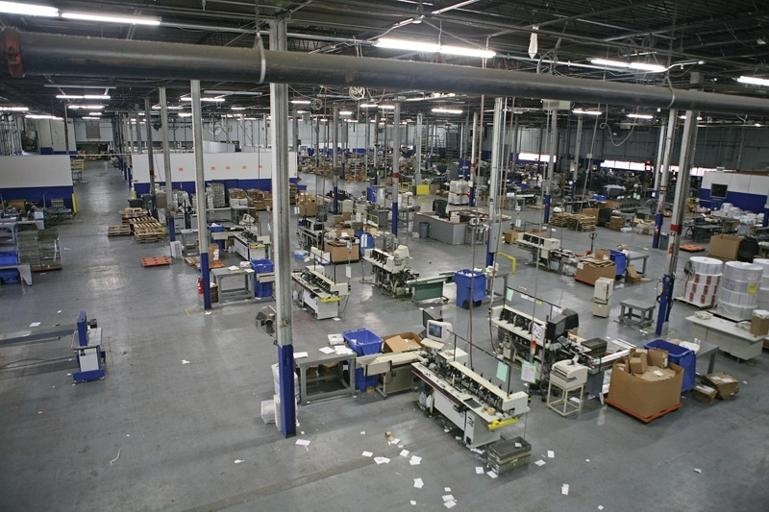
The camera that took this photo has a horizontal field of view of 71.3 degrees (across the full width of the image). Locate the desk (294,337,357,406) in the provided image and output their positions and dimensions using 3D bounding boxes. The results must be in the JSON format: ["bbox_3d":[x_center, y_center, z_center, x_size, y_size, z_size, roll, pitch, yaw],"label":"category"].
[{"bbox_3d":[-1.511,2.924,13.133,1.700,0.980,1.301,-6,12,-26],"label":"desk"}]

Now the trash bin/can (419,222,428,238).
[{"bbox_3d":[1.821,-1.193,24.910,0.423,0.721,0.239,0,14,5],"label":"trash bin/can"}]

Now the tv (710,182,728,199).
[{"bbox_3d":[17.113,-3.338,27.425,0.275,0.706,0.830,-11,16,-31],"label":"tv"}]

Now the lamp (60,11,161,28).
[{"bbox_3d":[-5.772,-5.019,11.320,1.863,0.249,0.726,-4,13,-15],"label":"lamp"}]

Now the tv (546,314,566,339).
[{"bbox_3d":[4.123,1.722,12.916,0.563,0.449,0.188,-9,22,-33],"label":"tv"}]

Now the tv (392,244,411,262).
[{"bbox_3d":[0.542,-0.092,17.606,0.315,0.452,0.672,10,16,37],"label":"tv"}]

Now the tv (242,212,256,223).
[{"bbox_3d":[-5.429,-1.487,21.504,0.784,0.292,1.287,-1,9,-19],"label":"tv"}]

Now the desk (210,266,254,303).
[{"bbox_3d":[-4.936,0.946,17.480,1.251,0.908,0.963,-3,13,-16],"label":"desk"}]

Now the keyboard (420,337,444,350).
[{"bbox_3d":[1.124,2.168,12.870,0.579,0.283,0.440,5,14,25],"label":"keyboard"}]

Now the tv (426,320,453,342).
[{"bbox_3d":[1.368,1.779,13.272,0.476,0.479,0.706,-11,14,-41],"label":"tv"}]

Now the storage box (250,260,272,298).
[{"bbox_3d":[-3.970,0.775,17.507,0.655,1.144,0.987,-4,14,-13],"label":"storage box"}]
